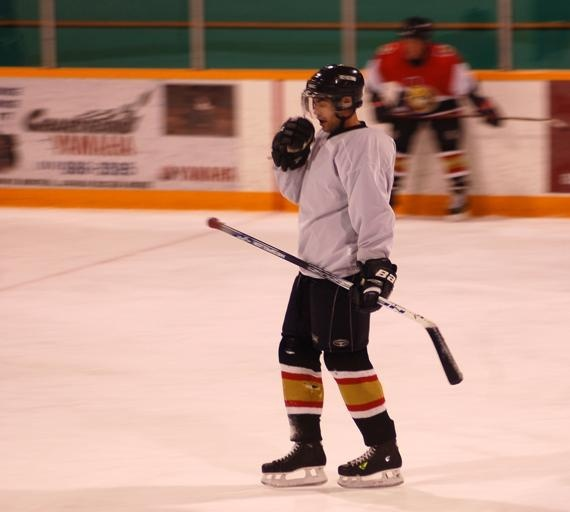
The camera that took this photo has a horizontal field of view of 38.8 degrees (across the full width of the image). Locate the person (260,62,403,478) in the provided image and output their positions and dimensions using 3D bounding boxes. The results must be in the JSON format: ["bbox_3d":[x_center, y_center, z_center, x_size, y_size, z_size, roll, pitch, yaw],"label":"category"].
[{"bbox_3d":[0.158,0.048,2.768,0.473,1.411,0.476,0,7,5],"label":"person"}]

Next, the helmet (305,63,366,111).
[{"bbox_3d":[0.148,-0.564,2.783,0.243,0.148,0.159,-20,35,-24],"label":"helmet"}]
